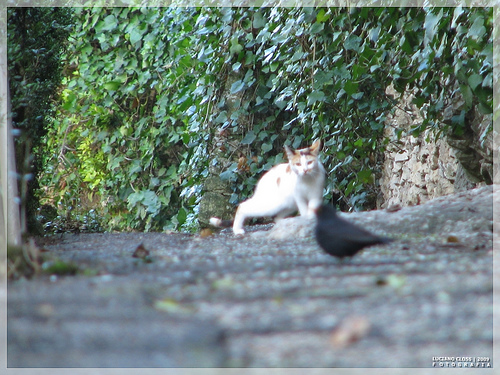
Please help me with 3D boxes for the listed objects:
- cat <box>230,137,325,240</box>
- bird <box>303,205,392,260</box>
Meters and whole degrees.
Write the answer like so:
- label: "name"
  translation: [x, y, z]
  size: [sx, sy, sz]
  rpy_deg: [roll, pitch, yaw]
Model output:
- label: "cat"
  translation: [0.200, 0.001, 7.396]
  size: [0.643, 0.718, 0.486]
  rpy_deg: [5, 13, 15]
- label: "bird"
  translation: [0.549, 0.237, 6.012]
  size: [0.375, 0.306, 0.412]
  rpy_deg: [0, 7, -27]
